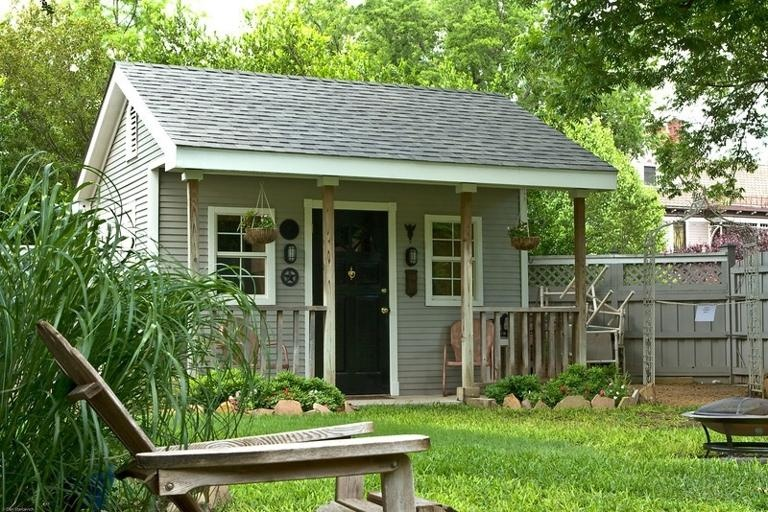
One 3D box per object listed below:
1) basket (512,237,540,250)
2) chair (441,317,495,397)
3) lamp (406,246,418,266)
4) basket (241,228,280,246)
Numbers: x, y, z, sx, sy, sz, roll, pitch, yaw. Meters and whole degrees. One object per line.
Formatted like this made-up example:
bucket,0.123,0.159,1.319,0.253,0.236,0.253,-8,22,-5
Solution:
basket,2.327,-0.208,14.292,0.263,0.124,0.279,-3,-4,20
chair,1.426,1.677,14.388,0.802,1.352,0.913,1,-7,10
lamp,0.464,0.011,14.608,0.237,0.327,0.068,2,-6,-24
basket,-1.812,-0.298,12.982,0.325,0.132,0.314,7,-11,-43
